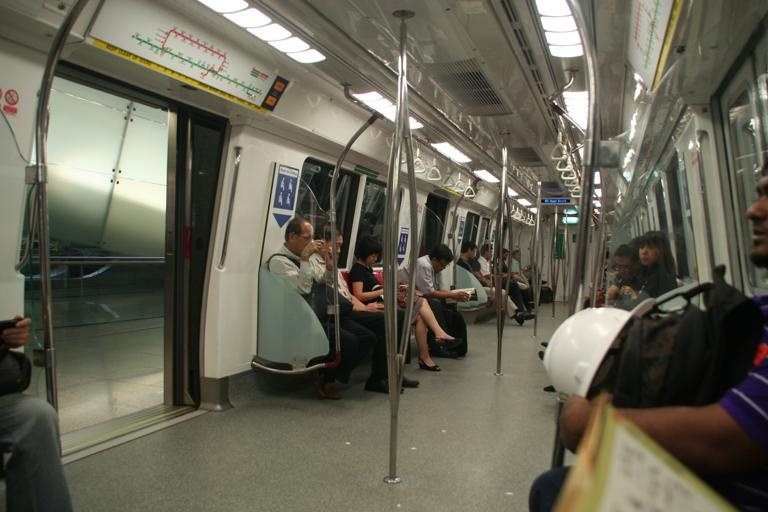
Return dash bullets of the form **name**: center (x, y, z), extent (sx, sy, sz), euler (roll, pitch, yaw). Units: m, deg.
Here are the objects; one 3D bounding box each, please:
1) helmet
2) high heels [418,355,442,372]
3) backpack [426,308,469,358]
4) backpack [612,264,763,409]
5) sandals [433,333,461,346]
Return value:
- **helmet**: center (0.929, 0.427, 2.275), extent (0.349, 0.441, 0.405), euler (-20, 18, -29)
- **high heels**: center (0.564, 1.409, 6.830), extent (0.323, 0.144, 0.112), euler (-3, -5, 29)
- **backpack**: center (0.986, 1.142, 7.670), extent (0.727, 0.740, 0.498), euler (-2, -1, -8)
- **backpack**: center (1.113, 0.359, 1.940), extent (0.520, 0.236, 0.394), euler (-41, 22, -24)
- **sandals**: center (0.780, 1.126, 7.039), extent (0.442, 0.142, 0.152), euler (-3, -1, 39)
